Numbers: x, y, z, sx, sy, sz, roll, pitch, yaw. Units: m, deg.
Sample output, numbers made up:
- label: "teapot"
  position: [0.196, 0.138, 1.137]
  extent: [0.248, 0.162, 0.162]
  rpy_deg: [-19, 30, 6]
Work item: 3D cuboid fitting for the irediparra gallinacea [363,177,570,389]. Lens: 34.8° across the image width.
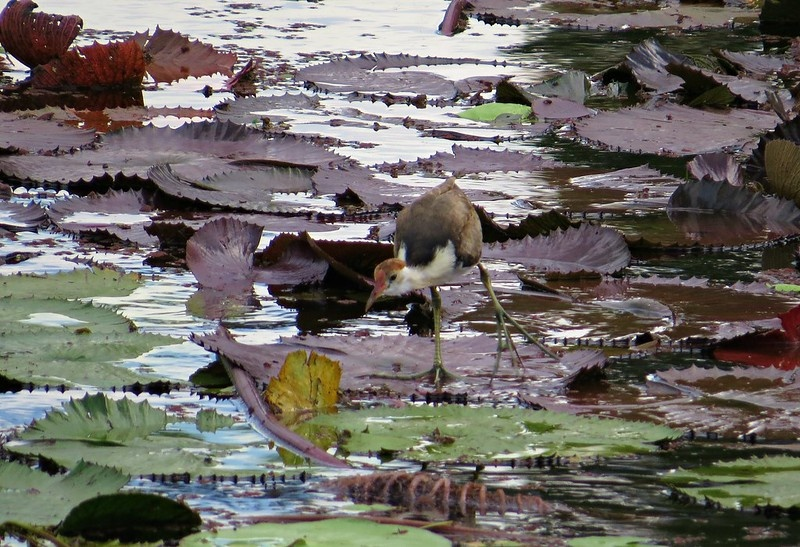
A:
- label: "irediparra gallinacea"
  position: [0.210, 0.010, 6.426]
  extent: [1.097, 0.607, 1.189]
  rpy_deg: [-7, 18, 26]
